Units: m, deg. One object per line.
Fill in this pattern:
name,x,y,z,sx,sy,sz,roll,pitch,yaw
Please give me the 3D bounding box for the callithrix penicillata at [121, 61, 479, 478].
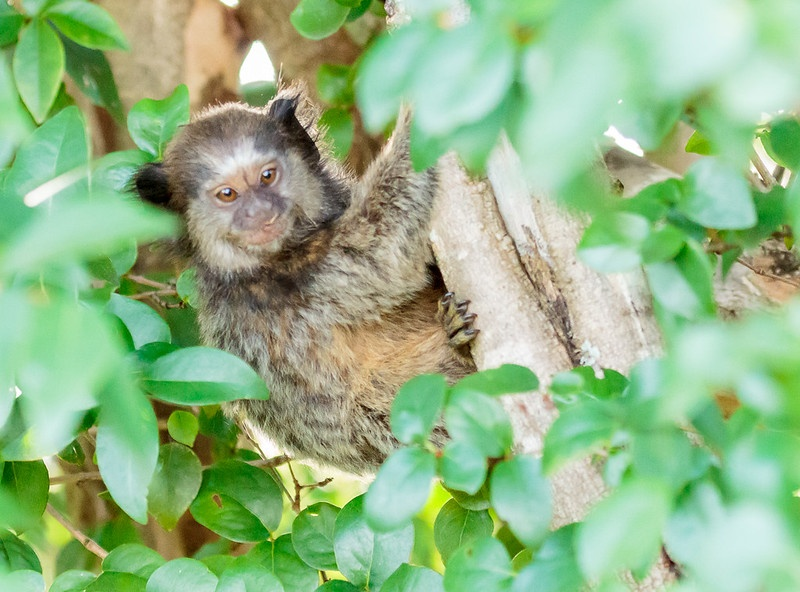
callithrix penicillata,-0.382,-0.154,3.972,0.934,1.654,1.239,26,58,38
